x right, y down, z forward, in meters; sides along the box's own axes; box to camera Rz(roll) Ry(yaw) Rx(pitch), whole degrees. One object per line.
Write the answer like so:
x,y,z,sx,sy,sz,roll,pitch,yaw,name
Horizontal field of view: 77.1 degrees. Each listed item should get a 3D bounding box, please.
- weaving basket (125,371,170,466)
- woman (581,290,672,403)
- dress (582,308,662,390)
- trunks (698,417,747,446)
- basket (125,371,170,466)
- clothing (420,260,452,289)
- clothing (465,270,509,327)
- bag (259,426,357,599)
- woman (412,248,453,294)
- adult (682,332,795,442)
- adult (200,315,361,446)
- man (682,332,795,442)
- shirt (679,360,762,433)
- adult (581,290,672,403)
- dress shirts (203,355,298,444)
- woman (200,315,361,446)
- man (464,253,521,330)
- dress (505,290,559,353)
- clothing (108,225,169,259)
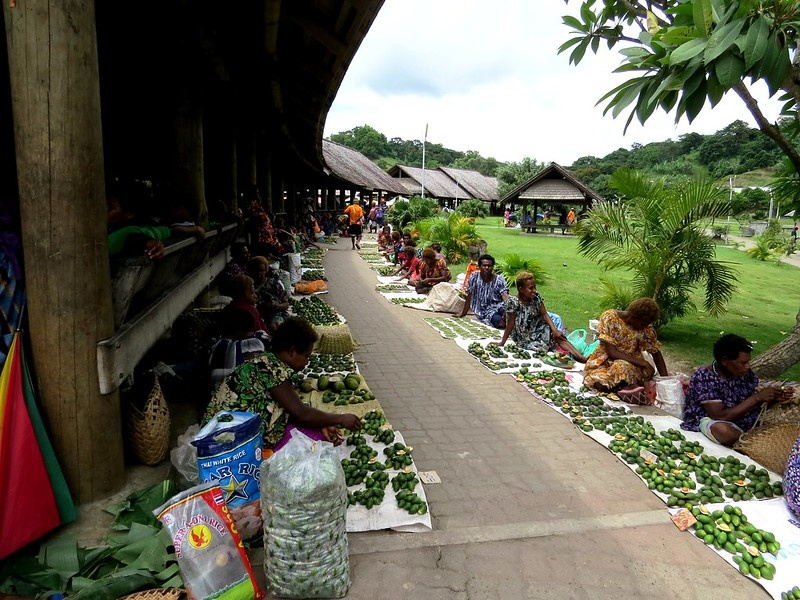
-2.175,1.046,4.328,0.303,0.689,0.417,-5,12,-12,weaving basket
2.761,0.530,6.506,1.072,1.410,1.136,0,1,-16,woman
2.863,0.541,6.319,0.950,1.213,0.866,2,13,5,dress
3.257,1.296,5.111,0.274,0.125,0.279,-2,10,-17,trunks
-2.175,1.046,4.328,0.303,0.689,0.417,-5,12,-12,basket
0.860,-0.583,11.866,0.623,0.470,0.671,-3,-3,41,clothing
1.685,-0.046,9.526,0.824,1.018,0.596,0,5,17,clothing
-0.660,1.540,3.469,0.614,1.030,0.383,-6,12,-15,bag
0.754,-0.702,11.906,0.892,1.076,0.787,-10,12,-13,woman
3.349,0.940,5.283,1.094,1.095,0.961,-21,23,-37,adult
-1.042,0.914,4.456,1.311,1.367,0.881,6,1,-10,adult
3.476,0.914,5.418,1.094,1.095,0.961,-21,23,-37,man
3.423,1.044,5.423,0.718,0.743,0.677,-5,7,-23,shirt
2.917,0.577,6.299,1.124,1.259,0.906,2,3,30,adult
-1.218,0.861,4.154,0.707,0.806,0.310,-8,13,-25,dress shirts
-1.034,0.892,4.449,1.248,1.358,0.852,6,4,-11,woman
1.650,-0.109,9.459,1.266,1.706,1.177,-1,15,-3,man
2.070,0.374,7.974,0.642,1.005,0.632,-20,19,-16,dress
-2.221,-0.517,4.248,0.454,0.234,0.577,-9,13,-30,clothing
